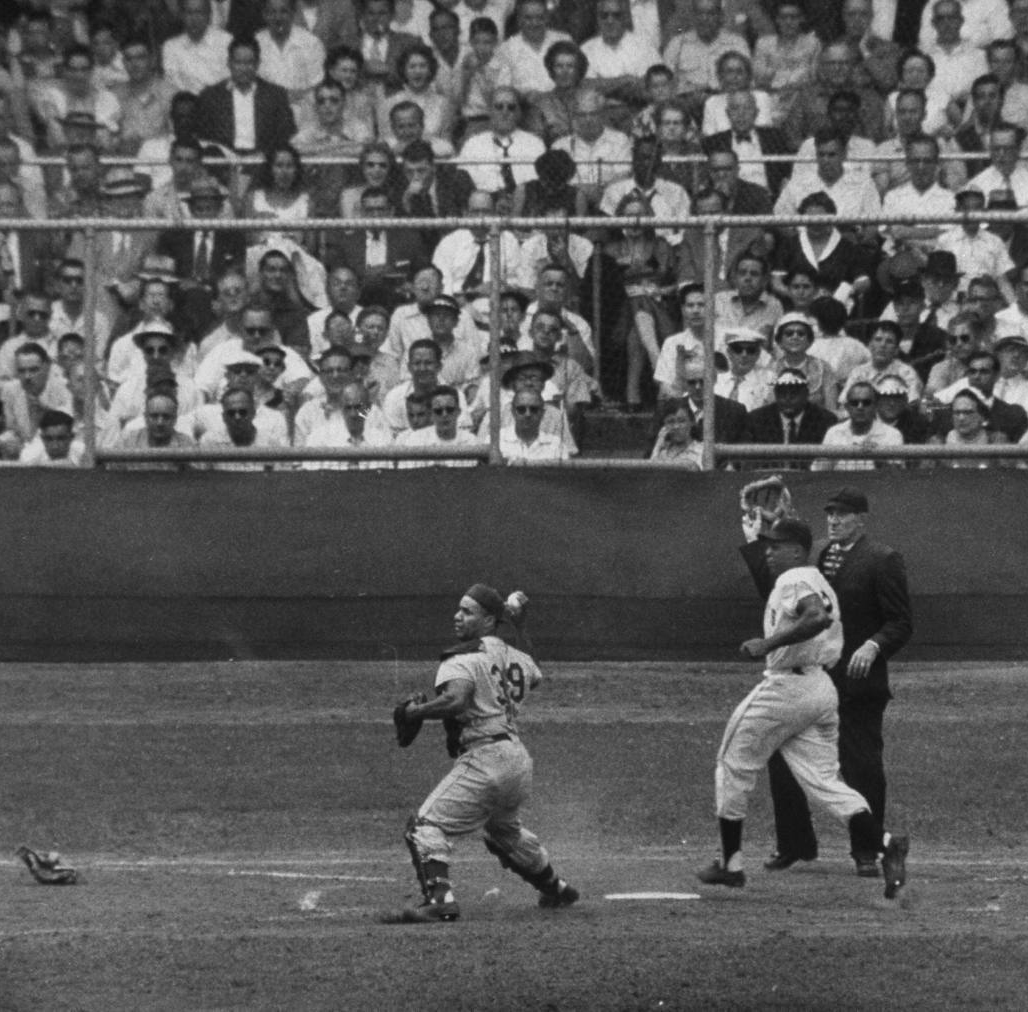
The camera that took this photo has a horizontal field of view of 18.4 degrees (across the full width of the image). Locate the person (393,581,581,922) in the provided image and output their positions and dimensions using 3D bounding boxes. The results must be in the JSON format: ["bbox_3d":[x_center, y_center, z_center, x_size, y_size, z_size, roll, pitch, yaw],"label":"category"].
[{"bbox_3d":[-0.191,1.665,21.095,1.191,2.257,1.079,-1,-26,7],"label":"person"}]

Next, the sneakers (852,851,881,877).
[{"bbox_3d":[2.189,2.249,20.193,0.133,0.111,0.139,0,-12,1],"label":"sneakers"}]

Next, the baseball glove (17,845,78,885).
[{"bbox_3d":[-2.949,2.279,20.194,0.288,0.126,0.266,15,2,30],"label":"baseball glove"}]

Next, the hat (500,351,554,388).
[{"bbox_3d":[0.056,-1.067,24.877,0.425,0.339,0.115,7,16,34],"label":"hat"}]

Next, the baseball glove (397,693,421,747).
[{"bbox_3d":[-0.639,1.309,19.460,0.107,0.269,0.184,7,7,-23],"label":"baseball glove"}]

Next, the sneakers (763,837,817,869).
[{"bbox_3d":[1.748,2.229,20.542,0.380,0.185,0.139,-3,12,-6],"label":"sneakers"}]

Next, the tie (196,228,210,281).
[{"bbox_3d":[-2.409,-1.965,24.866,0.155,0.352,0.134,-2,13,-1],"label":"tie"}]

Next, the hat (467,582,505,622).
[{"bbox_3d":[-0.209,0.550,19.674,0.133,0.229,0.181,-41,-28,6],"label":"hat"}]

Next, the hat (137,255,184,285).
[{"bbox_3d":[-2.762,-1.863,24.915,0.328,0.216,0.183,0,14,9],"label":"hat"}]

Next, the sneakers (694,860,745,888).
[{"bbox_3d":[1.238,2.291,19.897,0.266,0.159,0.142,8,5,17],"label":"sneakers"}]

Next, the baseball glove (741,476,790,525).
[{"bbox_3d":[1.632,-0.042,21.309,0.349,0.371,0.175,3,4,4],"label":"baseball glove"}]

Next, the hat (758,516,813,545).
[{"bbox_3d":[1.682,0.159,20.303,0.249,0.135,0.182,5,-1,-2],"label":"hat"}]
